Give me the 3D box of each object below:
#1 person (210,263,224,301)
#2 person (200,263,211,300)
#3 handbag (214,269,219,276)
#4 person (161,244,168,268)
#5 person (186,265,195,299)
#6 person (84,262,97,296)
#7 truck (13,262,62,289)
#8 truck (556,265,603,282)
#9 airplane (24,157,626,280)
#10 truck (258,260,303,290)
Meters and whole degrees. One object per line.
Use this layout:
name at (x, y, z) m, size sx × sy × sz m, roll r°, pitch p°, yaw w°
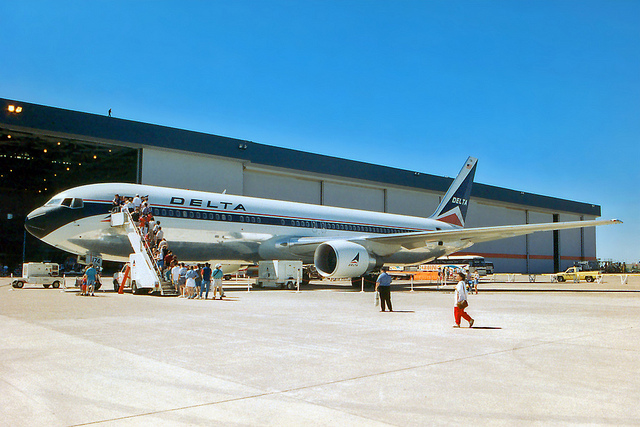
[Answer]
person at (-3.926, 2.479, 20.438) m, size 0.480 × 1.016 × 1.117 m, roll 1°, pitch 0°, yaw -11°
person at (-4.437, 2.426, 20.484) m, size 0.368 × 1.022 × 1.179 m, roll 1°, pitch 0°, yaw -12°
handbag at (-3.979, 2.117, 20.422) m, size 0.064 × 0.227 × 0.243 m, roll 32°, pitch 9°, yaw -14°
person at (-6.392, 1.580, 21.780) m, size 0.209 × 0.659 × 0.738 m, roll 1°, pitch 0°, yaw -14°
person at (-4.990, 2.495, 20.432) m, size 0.315 × 0.885 × 0.886 m, roll 1°, pitch 0°, yaw -13°
person at (-9.172, 2.514, 21.175) m, size 0.371 × 0.795 × 0.962 m, roll 1°, pitch 0°, yaw -22°
truck at (-13.977, 2.844, 26.441) m, size 2.273 × 0.929 × 1.394 m, roll 0°, pitch 0°, yaw -32°
truck at (23.849, 5.275, 48.941) m, size 3.787 × 1.006 × 2.025 m, roll -1°, pitch -5°, yaw 27°
airplane at (2.649, 0.986, 30.795) m, size 17.986 × 3.782 × 17.159 m, roll 1°, pitch -12°, yaw -30°
truck at (-2.139, 2.807, 27.029) m, size 1.509 × 1.146 × 2.122 m, roll -7°, pitch -2°, yaw 34°
